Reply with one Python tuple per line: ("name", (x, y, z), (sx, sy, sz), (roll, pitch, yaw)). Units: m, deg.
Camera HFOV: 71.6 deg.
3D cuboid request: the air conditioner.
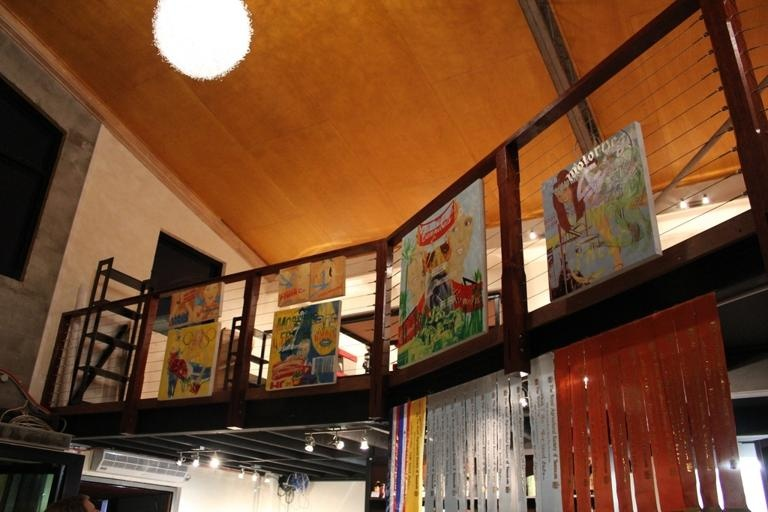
("air conditioner", (-3.945, 3.399, 8.477), (0.376, 0.424, 1.854), (-12, -35, 22))
